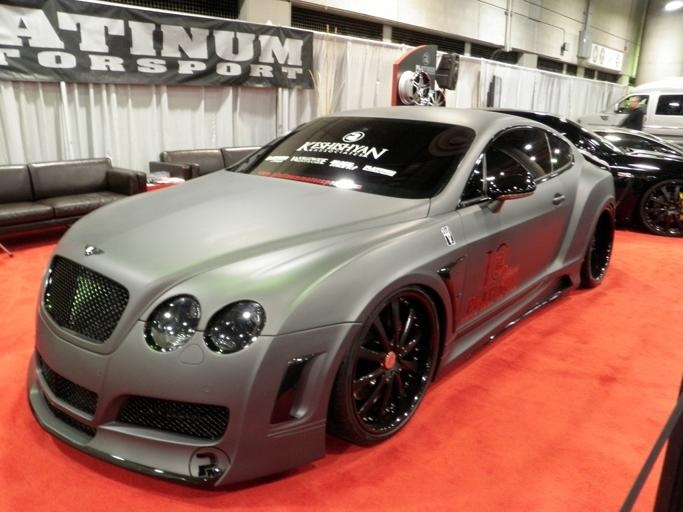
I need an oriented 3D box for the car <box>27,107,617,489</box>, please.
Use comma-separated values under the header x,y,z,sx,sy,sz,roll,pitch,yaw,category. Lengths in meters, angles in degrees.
x,y,z,sx,sy,sz,roll,pitch,yaw,category
0.248,0.076,2.520,1.707,0.974,3.181,17,24,40,car
